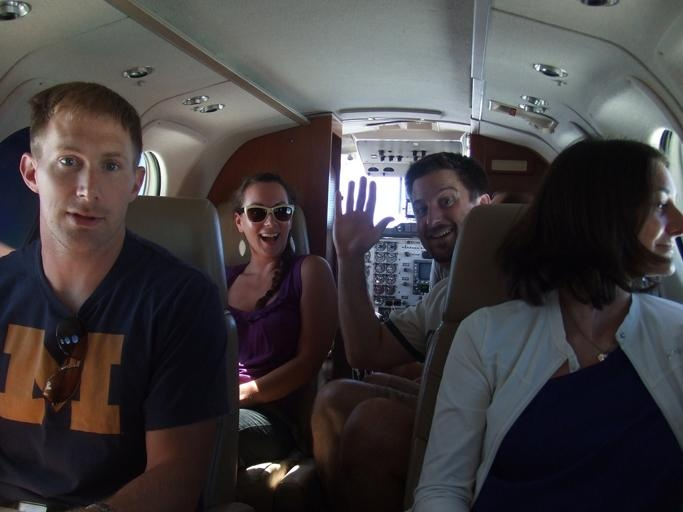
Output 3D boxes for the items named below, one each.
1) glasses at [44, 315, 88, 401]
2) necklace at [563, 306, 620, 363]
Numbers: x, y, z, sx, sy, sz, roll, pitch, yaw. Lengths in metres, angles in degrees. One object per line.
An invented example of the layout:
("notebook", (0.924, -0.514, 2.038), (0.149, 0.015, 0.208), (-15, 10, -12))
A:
("glasses", (-0.867, 0.331, 1.697), (0.115, 0.302, 0.036), (1, 0, -30))
("necklace", (0.806, 0.249, 1.753), (0.132, 0.199, 0.095), (-13, -30, 19))
